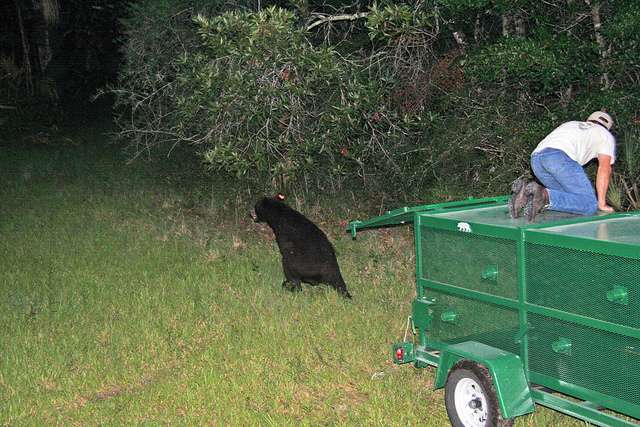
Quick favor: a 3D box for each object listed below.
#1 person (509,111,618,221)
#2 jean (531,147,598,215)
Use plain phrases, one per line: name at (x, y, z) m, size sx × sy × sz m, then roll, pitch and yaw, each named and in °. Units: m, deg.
person at (3.783, -0.650, 8.847) m, size 2.986 × 1.322 × 1.017 m, roll -23°, pitch 25°, yaw -39°
jean at (3.471, -0.476, 8.505) m, size 0.515 × 1.129 × 0.748 m, roll 7°, pitch -23°, yaw -22°
